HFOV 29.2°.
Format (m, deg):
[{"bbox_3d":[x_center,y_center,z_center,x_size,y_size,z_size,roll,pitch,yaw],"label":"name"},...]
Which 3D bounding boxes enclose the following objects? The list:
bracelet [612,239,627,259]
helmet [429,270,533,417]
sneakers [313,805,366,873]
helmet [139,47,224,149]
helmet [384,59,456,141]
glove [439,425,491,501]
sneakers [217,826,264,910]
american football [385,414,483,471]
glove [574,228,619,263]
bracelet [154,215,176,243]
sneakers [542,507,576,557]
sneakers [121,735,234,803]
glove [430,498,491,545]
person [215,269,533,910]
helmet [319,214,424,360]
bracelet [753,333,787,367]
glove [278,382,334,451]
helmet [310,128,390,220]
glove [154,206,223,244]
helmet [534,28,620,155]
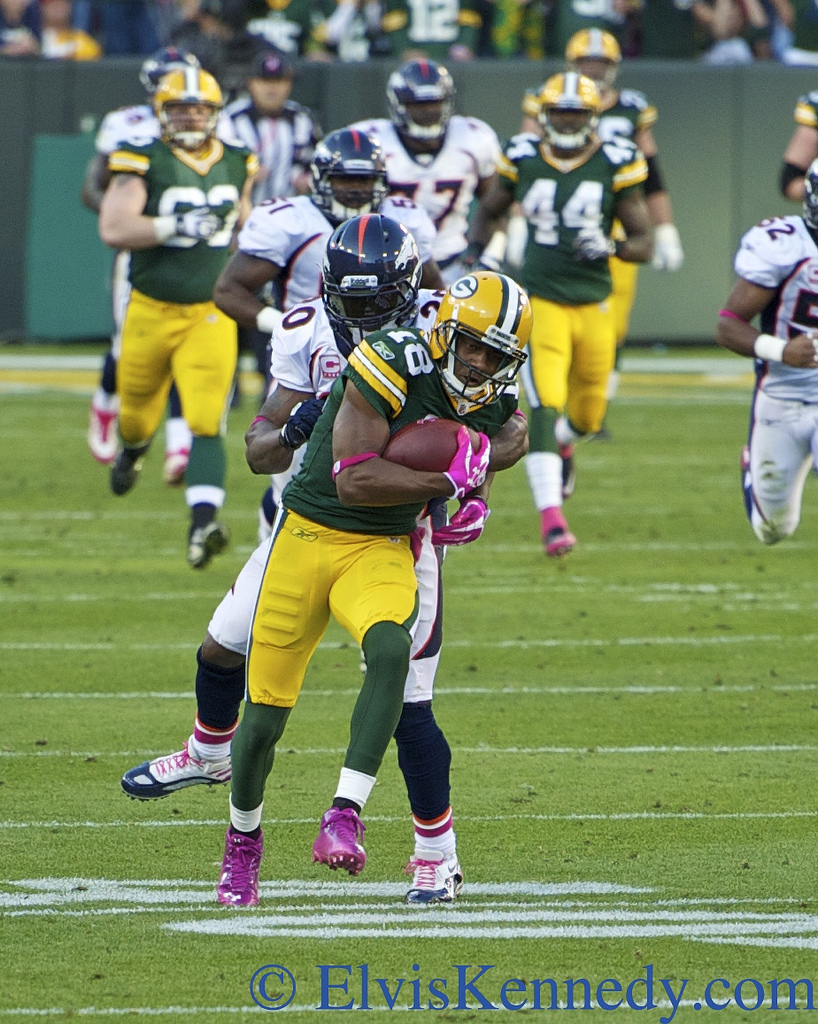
[{"bbox_3d":[0.877,-1.094,6.533,0.074,0.072,0.078,0,8,7],"label":"bracelet"},{"bbox_3d":[0.130,-0.306,2.886,0.132,0.262,0.176,8,12,41],"label":"helmet"},{"bbox_3d":[-0.124,0.570,2.639,0.082,0.125,0.134,-1,8,-4],"label":"sneakers"},{"bbox_3d":[-0.806,-1.454,5.608,0.243,0.323,0.278,-1,9,-8],"label":"helmet"},{"bbox_3d":[0.041,-1.697,6.432,0.253,0.336,0.424,0,8,0],"label":"helmet"},{"bbox_3d":[0.108,-0.090,2.865,0.044,0.114,0.106,19,10,27],"label":"glove"},{"bbox_3d":[-0.336,0.689,3.038,0.067,0.153,0.078,2,-23,-11],"label":"sneakers"},{"bbox_3d":[0.038,-0.123,2.837,0.148,0.067,0.076,-11,7,-16],"label":"american football"},{"bbox_3d":[0.767,-1.101,6.449,0.142,0.057,0.166,8,8,-21],"label":"glove"},{"bbox_3d":[-0.862,-0.984,5.477,0.082,0.081,0.078,1,18,-29],"label":"bracelet"},{"bbox_3d":[0.594,0.097,6.319,0.135,0.219,0.294,1,8,5],"label":"sneakers"},{"bbox_3d":[-0.595,0.593,3.561,0.389,0.102,0.175,-9,-22,12],"label":"sneakers"},{"bbox_3d":[0.111,0.009,3.099,0.115,0.094,0.134,13,20,1],"label":"glove"},{"bbox_3d":[-0.027,0.169,2.867,0.644,1.207,0.674,-2,10,-13],"label":"person"},{"bbox_3d":[-0.016,-0.438,3.085,0.226,0.228,0.256,3,42,7],"label":"helmet"},{"bbox_3d":[1.015,-0.457,4.407,0.080,0.091,0.036,32,63,7],"label":"bracelet"},{"bbox_3d":[-0.216,-0.180,3.047,0.034,0.117,0.069,26,25,-45],"label":"glove"},{"bbox_3d":[-0.168,-0.891,4.166,0.200,0.241,0.243,-1,8,-4],"label":"helmet"},{"bbox_3d":[-0.780,-1.003,5.505,0.205,0.070,0.097,-4,47,11],"label":"glove"},{"bbox_3d":[0.648,-1.631,6.426,0.247,0.357,0.298,1,9,4],"label":"helmet"}]
